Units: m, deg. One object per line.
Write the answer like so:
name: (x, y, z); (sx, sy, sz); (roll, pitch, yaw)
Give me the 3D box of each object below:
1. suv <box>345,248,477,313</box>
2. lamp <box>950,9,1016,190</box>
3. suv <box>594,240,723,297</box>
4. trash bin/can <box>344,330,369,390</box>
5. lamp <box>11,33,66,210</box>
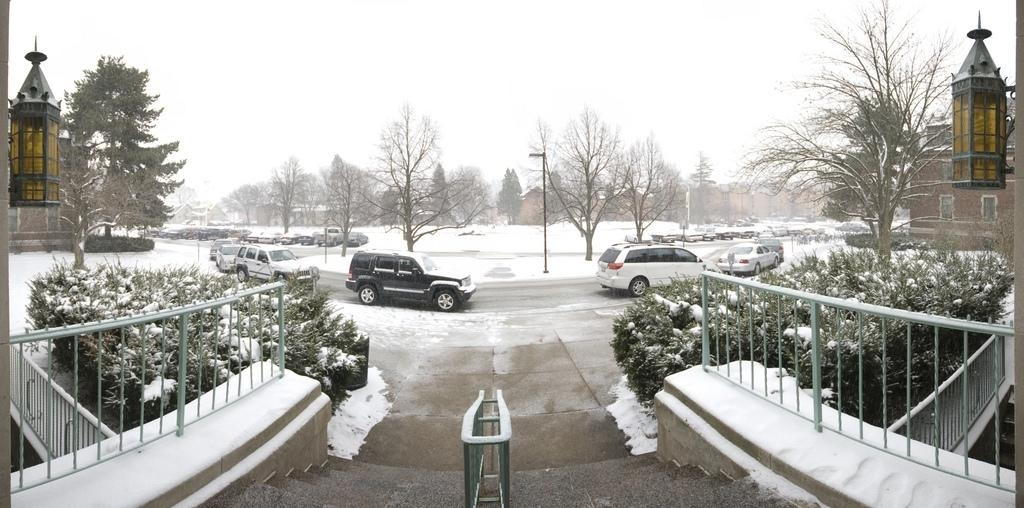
suv: (-4.027, 1.074, 30.657); (5.034, 2.134, 2.434); (0, 5, 12)
lamp: (12.284, -3.674, 18.833); (1.315, 3.858, 0.792); (-1, 4, 21)
suv: (6.426, 0.608, 32.135); (4.761, 1.639, 2.289); (-5, 4, -12)
trash bin/can: (-4.730, 3.324, 21.768); (0.614, 1.669, 1.285); (-3, 4, -3)
lamp: (-12.444, -3.293, 18.634); (1.249, 4.089, 0.916); (-5, 5, -33)
